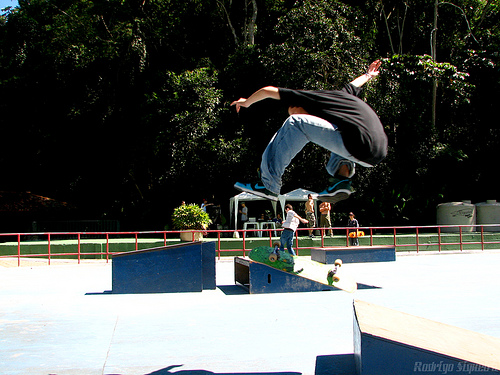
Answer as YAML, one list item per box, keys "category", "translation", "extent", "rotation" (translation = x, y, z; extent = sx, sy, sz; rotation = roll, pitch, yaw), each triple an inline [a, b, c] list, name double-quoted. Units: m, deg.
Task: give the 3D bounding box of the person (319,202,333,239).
- category: "person"
  translation: [3.257, 1.149, 20.441]
  extent: [0.466, 1.070, 0.837]
  rotation: [0, -1, 8]

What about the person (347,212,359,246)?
- category: "person"
  translation: [4.476, 1.773, 20.410]
  extent: [0.394, 1.334, 2.832]
  rotation: [0, -2, 12]

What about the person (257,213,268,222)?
- category: "person"
  translation: [0.648, 1.605, 24.562]
  extent: [0.406, 0.766, 0.415]
  rotation: [-2, 40, -10]

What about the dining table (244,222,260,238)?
- category: "dining table"
  translation: [0.114, 1.941, 22.079]
  extent: [0.724, 0.701, 1.775]
  rotation: [0, -2, 1]

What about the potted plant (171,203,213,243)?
- category: "potted plant"
  translation: [-2.415, 1.412, 19.260]
  extent: [1.324, 1.383, 1.159]
  rotation: [1, 14, 4]
